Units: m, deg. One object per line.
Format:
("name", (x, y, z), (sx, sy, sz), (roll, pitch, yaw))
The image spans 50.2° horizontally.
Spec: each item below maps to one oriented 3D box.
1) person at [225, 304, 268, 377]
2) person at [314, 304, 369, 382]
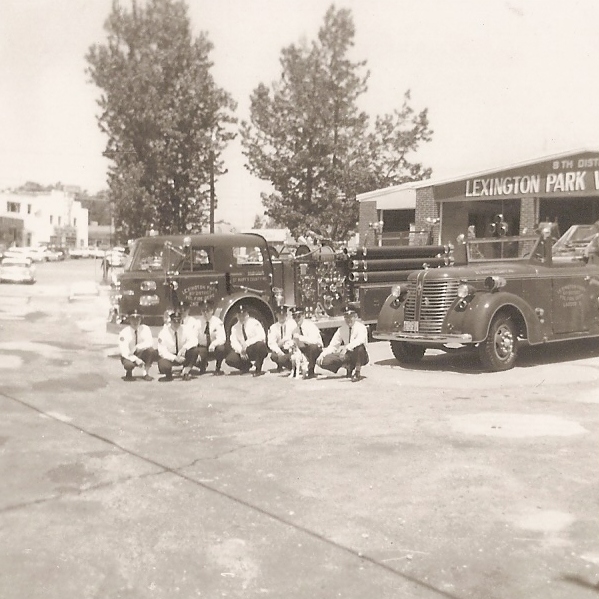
("person", (-1.024, 0.734, 12.284), (0.548, 1.235, 0.548), (-6, 18, 3))
("person", (0.821, 0.791, 11.451), (0.817, 1.186, 0.504), (2, 3, 37))
